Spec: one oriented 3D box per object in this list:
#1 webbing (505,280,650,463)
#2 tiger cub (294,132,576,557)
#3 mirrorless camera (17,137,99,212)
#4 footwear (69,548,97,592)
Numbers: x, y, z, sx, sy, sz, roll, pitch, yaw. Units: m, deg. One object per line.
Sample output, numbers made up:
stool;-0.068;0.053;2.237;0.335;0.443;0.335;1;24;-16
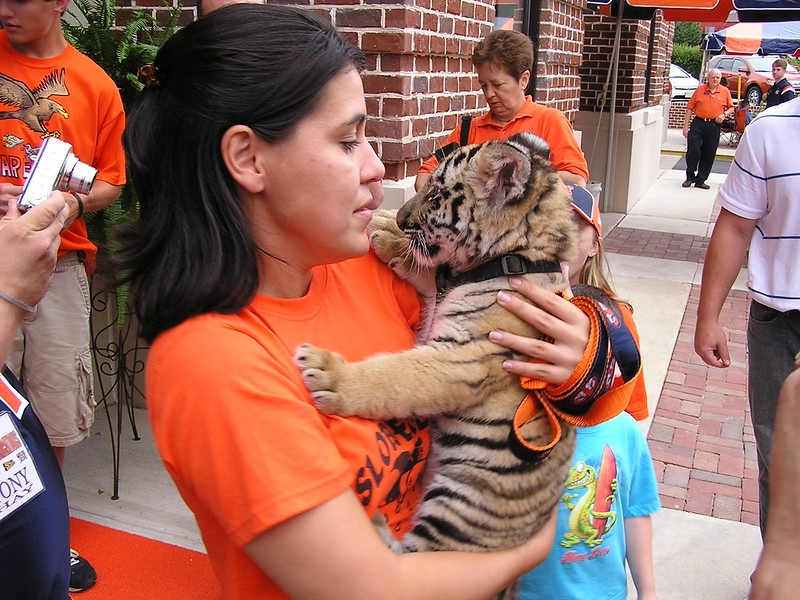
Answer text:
webbing;0.632;0.269;2.026;0.414;0.572;0.250;38;10;27
tiger cub;0.239;-0.087;2.301;0.848;1.836;0.701;-17;-15;7
mirrorless camera;-1.261;-0.496;2.148;0.347;0.239;0.272;3;4;30
footwear;-1.771;1.504;3.311;0.133;0.148;0.211;-7;17;-28
